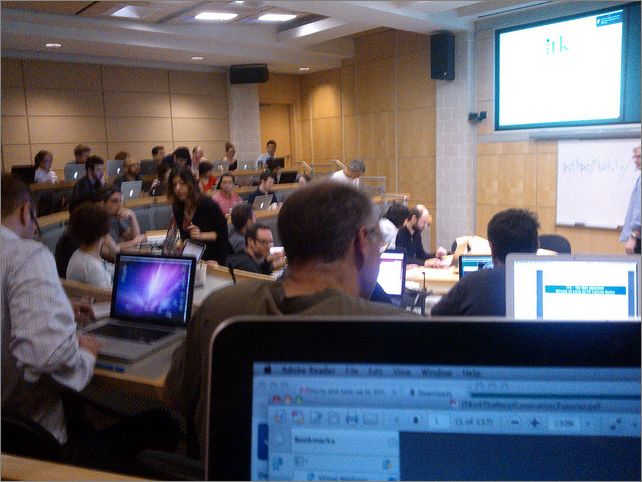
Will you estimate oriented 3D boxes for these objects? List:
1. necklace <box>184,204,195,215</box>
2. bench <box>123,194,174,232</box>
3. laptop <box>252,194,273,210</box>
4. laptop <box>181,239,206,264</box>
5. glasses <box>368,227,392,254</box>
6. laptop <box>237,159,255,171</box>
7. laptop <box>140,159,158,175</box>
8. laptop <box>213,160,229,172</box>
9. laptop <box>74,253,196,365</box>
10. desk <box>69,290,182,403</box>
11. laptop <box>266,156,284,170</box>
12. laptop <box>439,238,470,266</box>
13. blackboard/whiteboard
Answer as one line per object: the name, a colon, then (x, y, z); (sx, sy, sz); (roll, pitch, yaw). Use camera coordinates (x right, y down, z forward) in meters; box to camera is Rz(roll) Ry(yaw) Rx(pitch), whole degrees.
necklace: (-1.077, -0.258, 4.179); (0.066, 0.054, 0.068); (2, 0, -28)
bench: (-1.908, -0.290, 5.672); (0.226, 0.429, 0.427); (5, 8, 42)
laptop: (-0.727, -0.480, 6.393); (0.176, 0.168, 0.250); (23, 18, 28)
laptop: (-0.651, 0.053, 2.642); (0.124, 0.144, 0.038); (17, -7, 5)
glasses: (0.127, 0.002, 1.164); (0.055, 0.019, 0.056); (-19, -1, 29)
laptop: (-1.438, -1.471, 9.924); (0.313, 0.208, 0.534); (-3, 5, 5)
laptop: (-2.644, -1.125, 7.798); (0.193, 0.261, 0.369); (0, 3, 35)
laptop: (-1.802, -1.346, 9.156); (0.258, 0.195, 0.191); (-4, 23, -30)
laptop: (-0.718, 0.254, 2.032); (0.346, 0.290, 0.389); (3, 8, 22)
desk: (-0.595, 0.314, 1.772); (0.467, 0.373, 0.316); (3, -6, 43)
laptop: (-0.799, -1.365, 8.822); (0.273, 0.119, 0.430); (0, 4, 22)
laptop: (1.131, 0.117, 4.297); (0.213, 0.175, 0.258); (-8, 8, 31)
blackboard/whiteboard: (3.175, -0.661, 5.752); (0.096, 0.996, 0.978); (-4, 7, -28)
